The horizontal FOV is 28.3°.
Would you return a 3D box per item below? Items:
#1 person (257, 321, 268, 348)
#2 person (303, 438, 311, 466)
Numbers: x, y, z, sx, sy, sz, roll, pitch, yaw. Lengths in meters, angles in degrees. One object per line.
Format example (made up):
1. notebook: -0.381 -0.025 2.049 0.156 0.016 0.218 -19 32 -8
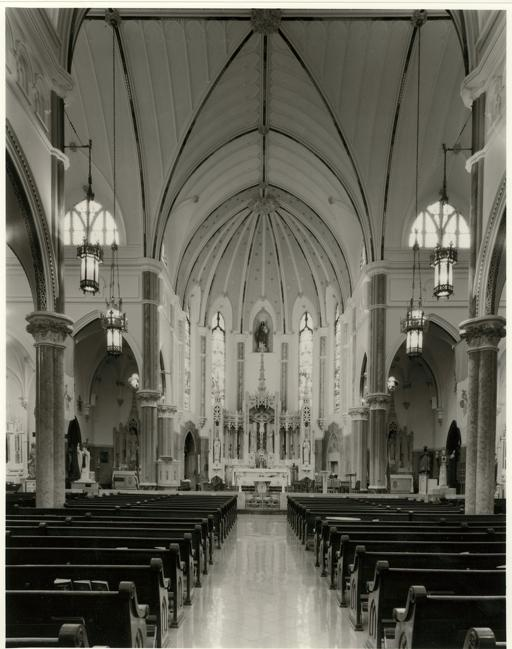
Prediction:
1. person: 0.218 0.472 40.320 0.529 1.198 0.588 1 -8 -3
2. person: 1.810 4.633 36.615 0.297 0.975 0.253 0 -8 2
